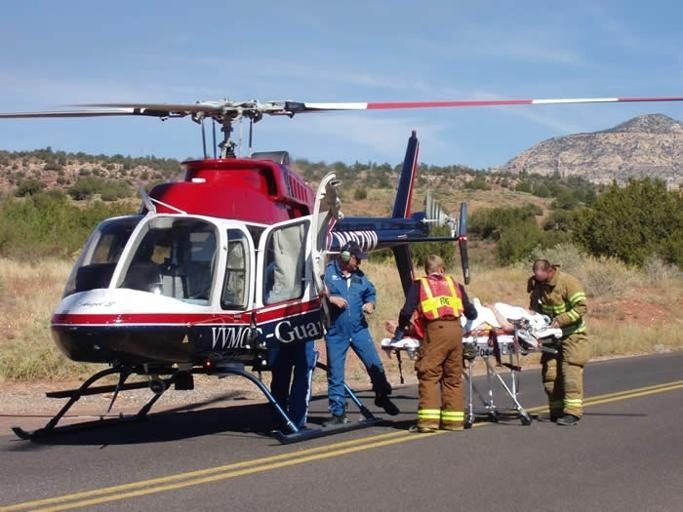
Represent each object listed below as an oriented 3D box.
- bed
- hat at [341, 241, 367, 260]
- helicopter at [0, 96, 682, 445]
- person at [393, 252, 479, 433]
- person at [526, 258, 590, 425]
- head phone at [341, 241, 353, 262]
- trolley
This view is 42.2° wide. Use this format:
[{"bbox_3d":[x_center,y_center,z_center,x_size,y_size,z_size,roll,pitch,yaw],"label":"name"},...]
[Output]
[{"bbox_3d":[2.379,1.863,13.858,2.284,1.372,1.331,-9,-14,20],"label":"bed"},{"bbox_3d":[0.215,-0.098,13.887,0.388,0.204,0.265,7,8,-31],"label":"hat"},{"bbox_3d":[-0.770,0.261,13.936,6.627,2.496,6.606,-4,-6,41],"label":"helicopter"},{"bbox_3d":[1.431,1.308,13.341,1.353,2.593,1.016,4,-14,-18],"label":"person"},{"bbox_3d":[3.276,1.325,13.953,1.172,2.579,1.152,9,-12,-41],"label":"person"},{"bbox_3d":[0.076,-0.036,13.622,0.187,0.280,0.147,2,-46,3],"label":"head phone"},{"bbox_3d":[2.390,1.973,13.846,2.145,1.062,1.172,-7,-16,10],"label":"trolley"}]
